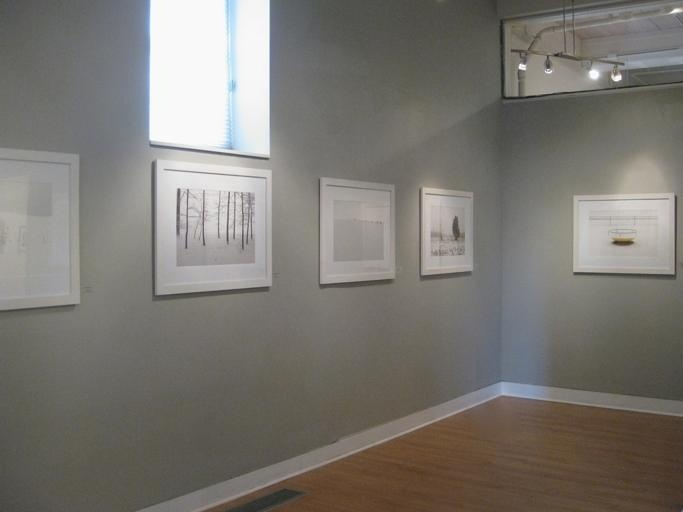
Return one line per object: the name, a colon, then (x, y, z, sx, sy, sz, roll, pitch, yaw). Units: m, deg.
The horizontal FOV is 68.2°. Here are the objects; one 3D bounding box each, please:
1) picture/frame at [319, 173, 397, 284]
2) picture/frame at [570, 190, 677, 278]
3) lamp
picture/frame: (0.087, -0.184, 3.343, 0.654, 0.859, 0.048, 2, -3, -44)
picture/frame: (2.345, -0.182, 4.138, 0.586, 0.666, 0.025, 2, 0, 20)
lamp: (1.650, -1.498, 3.715, 0.760, 0.531, 0.362, 2, 2, 39)
